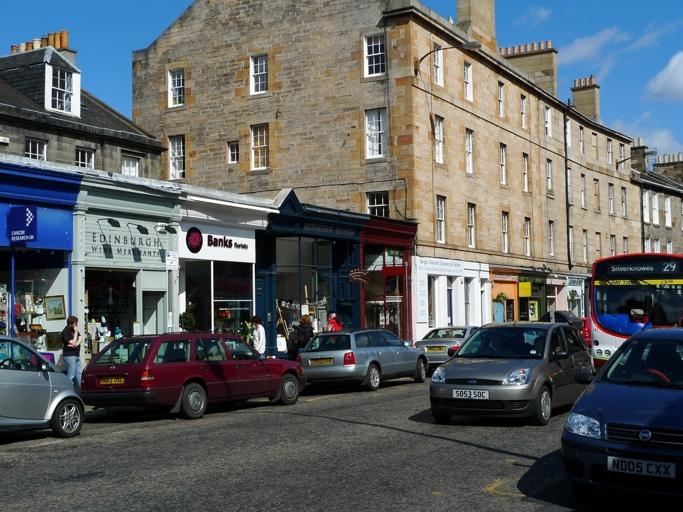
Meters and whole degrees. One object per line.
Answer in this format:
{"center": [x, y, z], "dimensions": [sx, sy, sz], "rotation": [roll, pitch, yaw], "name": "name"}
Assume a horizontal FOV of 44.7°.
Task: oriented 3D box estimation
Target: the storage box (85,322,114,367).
{"center": [-6.453, 2.365, 21.885], "dimensions": [0.523, 1.080, 1.064], "rotation": [-2, -3, 16], "name": "storage box"}

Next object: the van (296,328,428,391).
{"center": [0.763, 2.967, 24.525], "dimensions": [1.592, 1.174, 3.253], "rotation": [-4, -1, 33], "name": "van"}

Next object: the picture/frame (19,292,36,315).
{"center": [-8.855, 1.353, 23.267], "dimensions": [0.550, 0.826, 0.076], "rotation": [2, -18, -40], "name": "picture/frame"}

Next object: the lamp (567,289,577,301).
{"center": [14.352, 2.505, 52.303], "dimensions": [0.191, 0.845, 0.802], "rotation": [4, 0, 40], "name": "lamp"}

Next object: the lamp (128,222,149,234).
{"center": [-6.195, -0.821, 25.287], "dimensions": [0.092, 0.366, 0.760], "rotation": [1, 4, 31], "name": "lamp"}

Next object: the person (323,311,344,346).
{"center": [-0.334, 2.565, 29.051], "dimensions": [0.601, 1.312, 0.823], "rotation": [2, 2, 11], "name": "person"}

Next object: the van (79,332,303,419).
{"center": [-3.319, 2.698, 19.495], "dimensions": [1.919, 1.550, 4.348], "rotation": [-3, -2, 34], "name": "van"}

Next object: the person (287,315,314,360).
{"center": [-1.387, 2.639, 27.017], "dimensions": [0.498, 1.475, 0.816], "rotation": [13, -14, -25], "name": "person"}

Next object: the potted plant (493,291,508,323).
{"center": [8.100, 2.619, 42.787], "dimensions": [0.778, 1.621, 1.558], "rotation": [0, -2, 25], "name": "potted plant"}

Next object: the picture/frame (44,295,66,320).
{"center": [-8.040, 1.472, 23.283], "dimensions": [0.567, 0.749, 0.049], "rotation": [-2, -4, 3], "name": "picture/frame"}
